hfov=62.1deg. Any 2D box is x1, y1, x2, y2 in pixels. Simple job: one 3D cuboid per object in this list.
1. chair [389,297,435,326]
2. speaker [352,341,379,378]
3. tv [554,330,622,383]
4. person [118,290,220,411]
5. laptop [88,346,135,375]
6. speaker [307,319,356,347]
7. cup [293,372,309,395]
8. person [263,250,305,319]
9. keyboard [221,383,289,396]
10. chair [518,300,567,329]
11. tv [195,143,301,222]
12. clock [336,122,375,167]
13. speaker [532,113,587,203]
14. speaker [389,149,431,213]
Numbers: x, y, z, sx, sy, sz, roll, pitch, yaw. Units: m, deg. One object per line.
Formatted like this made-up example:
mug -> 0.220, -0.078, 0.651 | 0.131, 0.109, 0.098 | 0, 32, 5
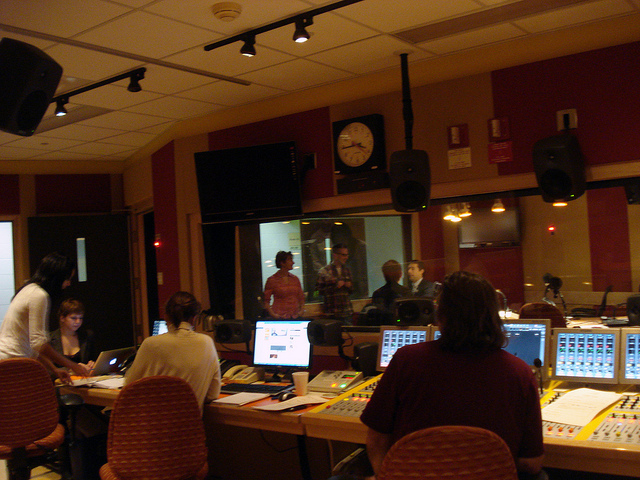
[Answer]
chair -> 0.618, 0.525, 3.979 | 0.394, 0.191, 0.253 | -1, -1, -14
speaker -> 0.342, 0.908, 4.007 | 0.198, 0.235, 0.187 | -3, -3, 3
tv -> 1.776, 0.745, 3.379 | 0.270, 0.335, 0.458 | 23, -22, -29
person -> -1.088, 0.819, 3.826 | 0.722, 0.797, 0.620 | 4, -11, 13
laptop -> -1.889, 1.084, 4.782 | 0.228, 0.161, 0.310 | 13, 5, 22
speaker -> 0.074, 0.712, 4.076 | 0.274, 0.142, 0.179 | 2, -6, -34
cup -> -0.137, 1.004, 3.719 | 0.102, 0.150, 0.071 | -3, -3, -7
person -> -0.418, 0.467, 5.668 | 0.514, 0.709, 0.119 | -5, -4, 36
keyboard -> -0.520, 1.122, 3.988 | 0.545, 0.030, 0.231 | -3, -3, 17
chair -> 1.977, 0.646, 4.642 | 0.331, 0.272, 0.245 | 0, -2, -16
tv -> -0.753, -0.563, 5.325 | 0.130, 0.701, 1.257 | 12, 17, 44
clock -> 0.328, -0.856, 4.773 | 0.543, 0.428, 0.073 | 1, -1, 35
speaker -> 1.694, -0.510, 3.788 | 0.317, 0.481, 0.198 | -5, -4, 28
speaker -> 0.711, -0.477, 4.227 | 0.306, 0.507, 0.144 | -3, -3, 5
